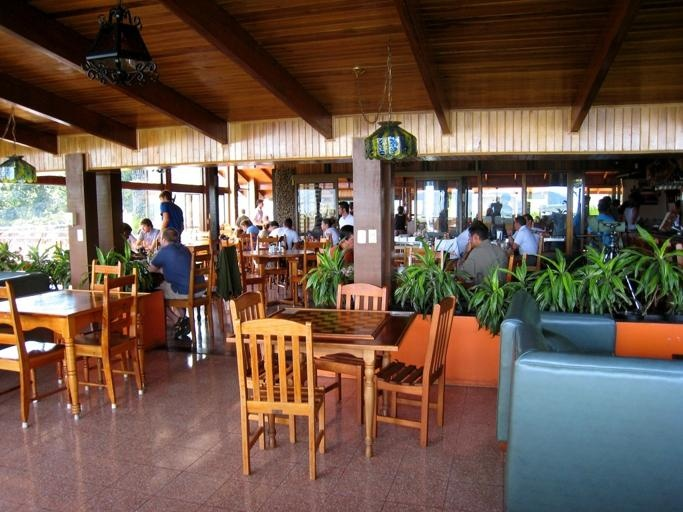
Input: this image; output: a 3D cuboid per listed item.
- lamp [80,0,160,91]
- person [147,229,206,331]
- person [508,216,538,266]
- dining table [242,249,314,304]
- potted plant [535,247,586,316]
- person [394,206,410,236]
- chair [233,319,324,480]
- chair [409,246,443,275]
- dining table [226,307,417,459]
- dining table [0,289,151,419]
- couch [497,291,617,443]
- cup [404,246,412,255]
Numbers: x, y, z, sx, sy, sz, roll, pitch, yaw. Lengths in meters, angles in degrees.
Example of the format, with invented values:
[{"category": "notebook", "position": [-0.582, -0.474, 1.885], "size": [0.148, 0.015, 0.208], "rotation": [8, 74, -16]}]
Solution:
[{"category": "lamp", "position": [-1.550, -1.507, 3.658], "size": [0.452, 0.545, 0.306], "rotation": [-3, 10, -15]}, {"category": "person", "position": [-2.107, 0.249, 6.639], "size": [0.619, 1.204, 0.462], "rotation": [-2, 10, -6]}, {"category": "person", "position": [2.788, -0.144, 8.069], "size": [0.482, 0.971, 0.428], "rotation": [2, 6, 30]}, {"category": "dining table", "position": [-0.926, 0.482, 8.179], "size": [0.941, 0.771, 0.933], "rotation": [2, 9, 17]}, {"category": "potted plant", "position": [2.063, 0.180, 4.966], "size": [0.514, 0.412, 0.546], "rotation": [-1, 21, 19]}, {"category": "person", "position": [1.381, -0.822, 11.955], "size": [0.278, 0.623, 0.946], "rotation": [1, 10, 7]}, {"category": "chair", "position": [-0.430, 0.921, 3.843], "size": [0.652, 1.206, 0.924], "rotation": [-3, 10, -12]}, {"category": "chair", "position": [0.981, 0.013, 5.966], "size": [0.268, 0.378, 0.370], "rotation": [0, 5, -4]}, {"category": "dining table", "position": [0.067, 0.662, 4.025], "size": [1.124, 0.789, 1.181], "rotation": [0, 3, 15]}, {"category": "dining table", "position": [-2.600, 0.786, 4.872], "size": [1.029, 1.060, 1.013], "rotation": [-1, -1, 8]}, {"category": "couch", "position": [1.335, 0.688, 3.215], "size": [0.680, 0.971, 0.971], "rotation": [1, 7, 16]}, {"category": "cup", "position": [0.844, -0.071, 6.560], "size": [0.082, 0.124, 0.123], "rotation": [2, 1, 11]}]
